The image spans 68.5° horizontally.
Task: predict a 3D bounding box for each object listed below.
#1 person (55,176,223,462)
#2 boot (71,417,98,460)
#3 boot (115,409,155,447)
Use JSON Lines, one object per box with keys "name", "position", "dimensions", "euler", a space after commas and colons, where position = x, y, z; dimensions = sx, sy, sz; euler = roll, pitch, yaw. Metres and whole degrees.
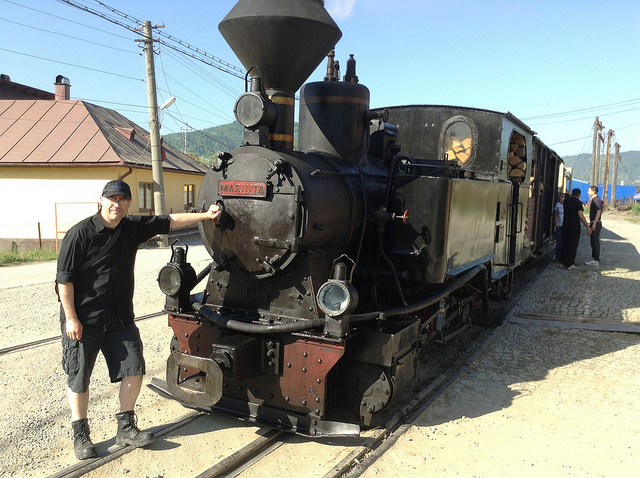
{"name": "person", "position": [-1.916, 0.726, 4.509], "dimensions": [1.011, 2.519, 0.545], "euler": [-6, 11, -33]}
{"name": "boot", "position": [-2.196, 1.862, 4.400], "dimensions": [0.191, 0.335, 0.205], "euler": [-5, 11, -30]}
{"name": "boot", "position": [-1.811, 1.836, 4.565], "dimensions": [0.376, 0.336, 0.169], "euler": [-2, 1, 9]}
